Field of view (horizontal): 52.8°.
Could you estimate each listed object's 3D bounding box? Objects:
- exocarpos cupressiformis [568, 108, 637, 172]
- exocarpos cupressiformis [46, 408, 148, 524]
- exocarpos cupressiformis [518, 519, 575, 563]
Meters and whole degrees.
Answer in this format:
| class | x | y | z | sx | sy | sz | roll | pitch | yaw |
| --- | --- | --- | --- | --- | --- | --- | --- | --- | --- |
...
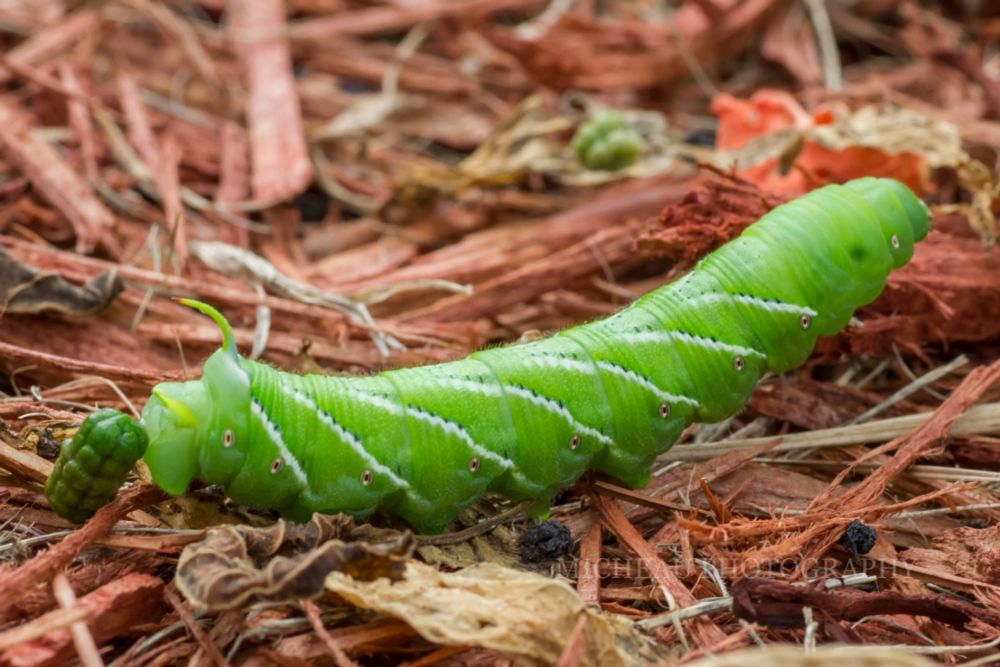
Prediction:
| class | x | y | z | sx | sy | sz | roll | pitch | yaw |
| --- | --- | --- | --- | --- | --- | --- | --- | --- | --- |
| exocarpos cupressiformis | 0.370 | -0.623 | 3.446 | 0.210 | 0.139 | 0.262 | -15 | 16 | -37 |
| exocarpos cupressiformis | -1.029 | 0.331 | 2.537 | 0.166 | 0.297 | 0.170 | 24 | 12 | -27 |
| exocarpos cupressiformis | 0.122 | 0.562 | 2.731 | 0.147 | 0.052 | 0.107 | -5 | 53 | -3 |
